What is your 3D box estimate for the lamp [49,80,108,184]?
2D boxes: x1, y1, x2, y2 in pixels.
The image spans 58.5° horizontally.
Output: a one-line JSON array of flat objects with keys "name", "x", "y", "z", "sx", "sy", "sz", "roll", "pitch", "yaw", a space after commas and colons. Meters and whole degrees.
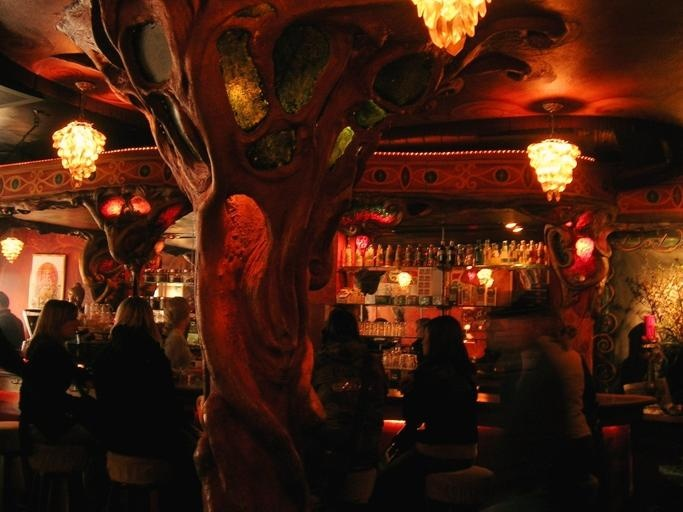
[{"name": "lamp", "x": -2.987, "y": -1.237, "z": 6.891, "sx": 0.502, "sy": 1.209, "sz": 1.453, "roll": 7, "pitch": -10, "yaw": -24}]

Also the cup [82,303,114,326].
[{"name": "cup", "x": -3.886, "y": 0.949, "z": 9.622, "sx": 0.392, "sy": 0.159, "sz": 0.528, "roll": 4, "pitch": 2, "yaw": -30}]
